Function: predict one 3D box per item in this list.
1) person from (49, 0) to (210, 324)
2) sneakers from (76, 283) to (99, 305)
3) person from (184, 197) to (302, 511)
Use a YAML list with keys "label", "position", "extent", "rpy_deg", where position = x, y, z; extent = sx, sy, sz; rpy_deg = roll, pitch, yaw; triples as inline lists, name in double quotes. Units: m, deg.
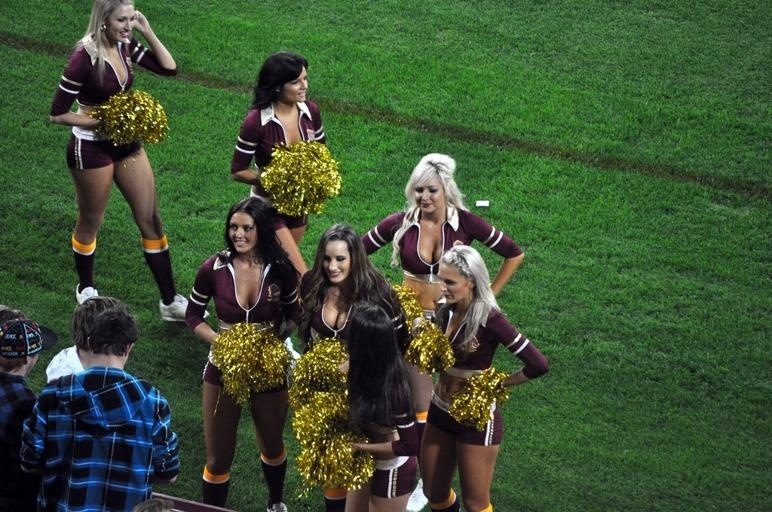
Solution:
- label: "person"
  position: [-2.781, -0.984, 8.104]
  extent: [1.257, 3.215, 0.983]
  rpy_deg: [1, 22, -18]
- label: "sneakers"
  position: [-2.968, 0.370, 7.773]
  extent: [0.155, 0.131, 0.293]
  rpy_deg: [-15, 22, -32]
- label: "person"
  position: [-1.268, 0.916, 6.876]
  extent: [0.968, 2.758, 0.871]
  rpy_deg: [2, 22, -15]
